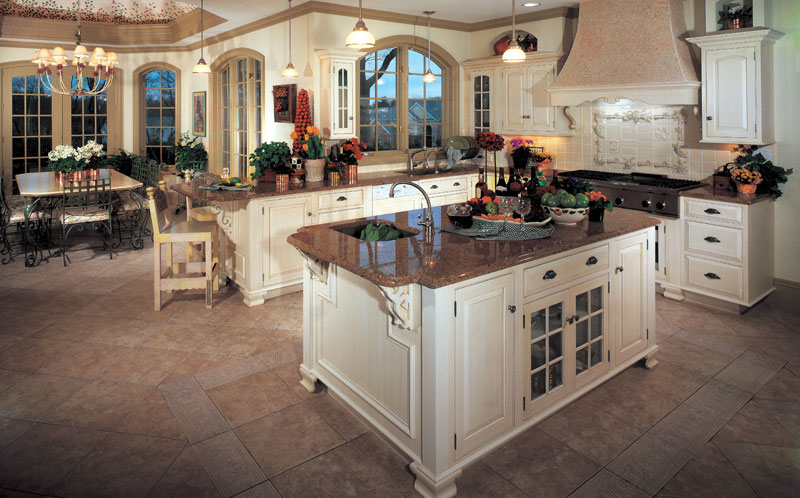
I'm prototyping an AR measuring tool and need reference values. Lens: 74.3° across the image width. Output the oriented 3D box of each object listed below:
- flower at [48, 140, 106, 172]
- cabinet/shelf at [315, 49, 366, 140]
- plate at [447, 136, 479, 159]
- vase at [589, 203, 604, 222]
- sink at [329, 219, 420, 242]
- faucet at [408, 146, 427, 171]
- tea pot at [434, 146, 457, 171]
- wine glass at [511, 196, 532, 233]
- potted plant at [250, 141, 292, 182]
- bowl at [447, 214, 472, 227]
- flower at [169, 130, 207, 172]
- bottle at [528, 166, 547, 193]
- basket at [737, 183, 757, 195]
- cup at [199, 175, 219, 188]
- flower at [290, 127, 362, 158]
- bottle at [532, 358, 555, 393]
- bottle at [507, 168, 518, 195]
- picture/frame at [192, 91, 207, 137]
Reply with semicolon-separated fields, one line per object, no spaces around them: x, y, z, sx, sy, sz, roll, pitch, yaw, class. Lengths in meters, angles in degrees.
-4.830;-1.403;8.204;0.808;0.467;0.808;5;9;31;flower
-0.868;-2.141;7.342;0.597;1.193;0.310;-9;15;-23;cabinet/shelf
0.994;-1.634;8.405;0.413;0.411;0.464;5;9;29;plate
1.810;-0.327;4.861;0.166;0.157;0.146;1;0;30;vase
-0.251;-0.172;4.831;0.341;0.161;0.408;-11;15;-40;sink
0.248;-1.393;8.219;0.290;0.331;0.762;-3;15;1;faucet
0.725;-1.435;8.439;0.158;0.460;0.481;0;2;-38;tea pot
1.051;-0.308;4.610;0.138;0.250;0.200;3;15;22;wine glass
-1.737;-1.143;6.936;0.516;0.356;0.511;-8;13;-35;potted plant
0.533;-0.244;4.668;0.130;0.071;0.130;-1;3;0;bowl
-4.239;-1.942;10.645;0.590;0.774;0.958;-9;16;-24;flower
1.312;-0.651;5.013;0.168;0.210;0.416;2;16;17;bottle
4.000;-0.681;6.089;0.169;0.129;0.142;-2;10;-9;basket
-2.438;-0.862;6.753;0.210;0.190;0.269;0;2;-1;cup
-0.991;-1.459;7.227;0.927;0.444;0.624;-5;15;-6;flower
1.179;1.050;4.378;0.281;0.372;0.024;-8;11;-41;bottle
1.077;-0.607;5.013;0.121;0.171;0.267;-1;15;10;bottle
-3.992;-2.704;10.509;0.045;0.973;0.875;-4;12;-39;picture/frame
